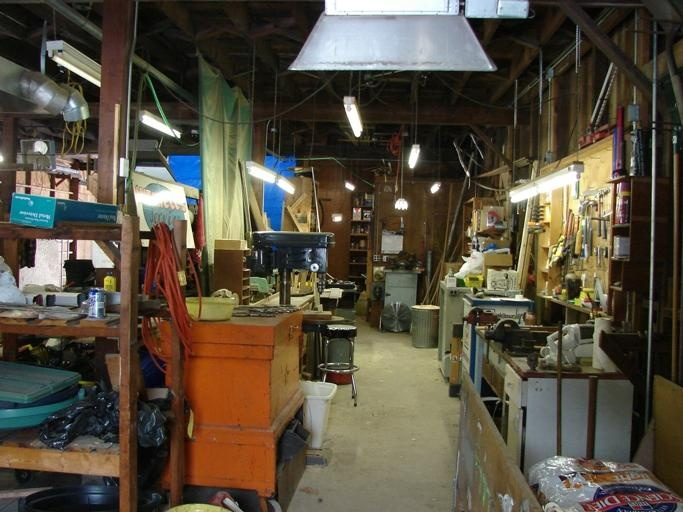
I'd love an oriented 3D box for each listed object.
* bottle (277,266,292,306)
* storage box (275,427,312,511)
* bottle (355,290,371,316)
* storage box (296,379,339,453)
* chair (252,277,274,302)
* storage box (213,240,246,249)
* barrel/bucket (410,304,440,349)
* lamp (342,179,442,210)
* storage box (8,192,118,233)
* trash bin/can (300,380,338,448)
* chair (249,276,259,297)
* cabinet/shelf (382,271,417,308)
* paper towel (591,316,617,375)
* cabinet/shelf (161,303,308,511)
[{"bbox_3d":[-0.520,0.326,5.754,0.116,0.450,0.121,0,3,0],"label":"bottle"},{"bbox_3d":[-0.376,1.632,4.777,0.235,0.443,0.604,0,2,2],"label":"storage box"},{"bbox_3d":[0.437,0.944,12.463,0.216,0.549,0.391,2,9,-32],"label":"bottle"},{"bbox_3d":[-0.251,1.392,5.588,0.423,0.462,0.379,6,2,-3],"label":"storage box"},{"bbox_3d":[-1.006,0.404,8.000,0.239,0.236,0.352,0,0,-1],"label":"chair"},{"bbox_3d":[-1.308,-0.135,7.361,0.359,0.134,0.138,7,7,-11],"label":"storage box"},{"bbox_3d":[1.267,1.059,9.499,0.496,0.746,0.534,1,1,0],"label":"barrel/bucket"},{"bbox_3d":[1.058,-1.108,12.006,1.369,0.579,0.819,-1,9,-1],"label":"lamp"},{"bbox_3d":[-1.774,-0.270,4.045,0.646,0.224,0.317,5,8,-25],"label":"storage box"},{"bbox_3d":[-0.220,1.378,5.564,0.498,0.485,0.447,2,-1,-7],"label":"trash bin/can"},{"bbox_3d":[-1.068,0.371,7.895,0.128,0.196,0.161,0,-4,-3],"label":"chair"},{"bbox_3d":[1.034,0.525,11.056,0.537,1.148,0.574,1,9,4],"label":"cabinet/shelf"},{"bbox_3d":[1.923,0.681,4.524,0.118,0.332,0.141,16,1,14],"label":"paper towel"},{"bbox_3d":[-0.865,1.010,5.219,1.004,1.503,1.878,0,2,4],"label":"cabinet/shelf"}]
